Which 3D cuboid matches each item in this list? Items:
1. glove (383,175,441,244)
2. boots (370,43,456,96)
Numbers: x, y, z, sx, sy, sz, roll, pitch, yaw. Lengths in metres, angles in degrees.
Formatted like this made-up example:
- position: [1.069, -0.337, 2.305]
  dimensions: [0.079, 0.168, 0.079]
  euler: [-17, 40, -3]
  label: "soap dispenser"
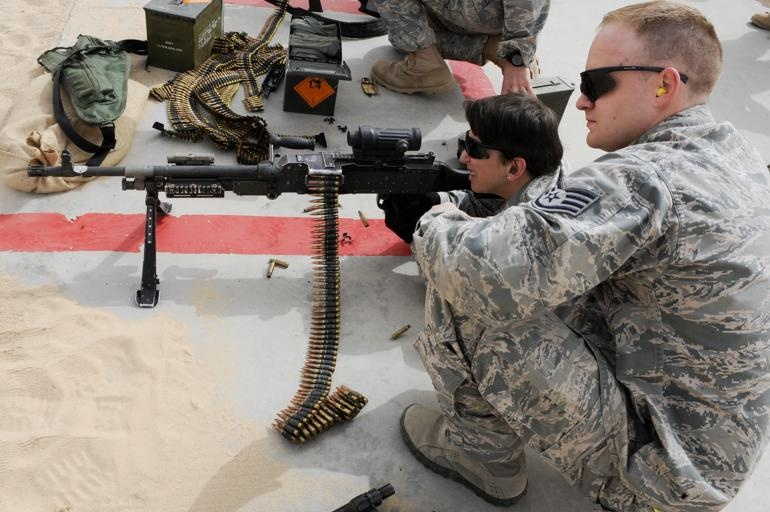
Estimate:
- position: [0.211, -0.465, 8.220]
  dimensions: [0.711, 0.497, 0.531]
  euler: [-18, 45, -38]
  label: "glove"
- position: [0.395, -2.529, 10.649]
  dimensions: [1.158, 0.760, 0.412]
  euler: [8, 55, 7]
  label: "boots"
